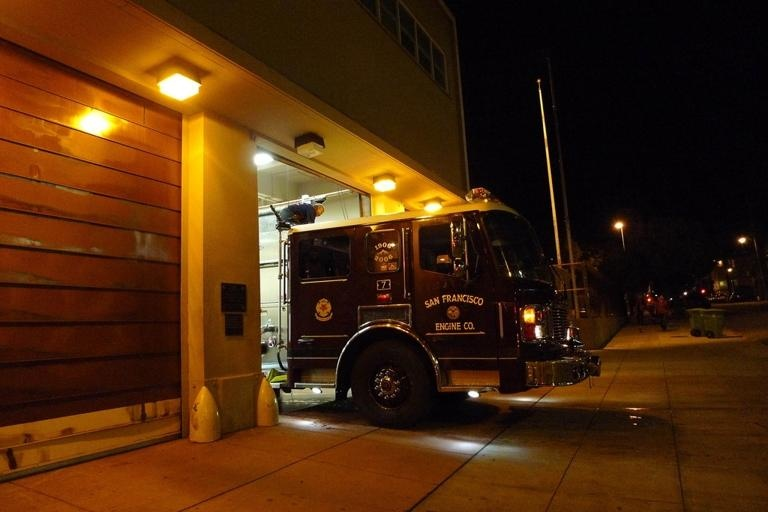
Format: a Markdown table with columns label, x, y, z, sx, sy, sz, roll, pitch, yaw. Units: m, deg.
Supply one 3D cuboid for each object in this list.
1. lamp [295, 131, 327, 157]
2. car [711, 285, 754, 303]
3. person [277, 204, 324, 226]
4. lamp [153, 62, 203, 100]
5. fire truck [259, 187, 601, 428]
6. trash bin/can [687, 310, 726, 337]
| label | x | y | z | sx | sy | sz | roll | pitch | yaw |
| --- | --- | --- | --- | --- | --- | --- | --- | --- | --- |
| lamp | -1.442 | -2.060 | 10.067 | 0.404 | 0.303 | 0.412 | -20 | -31 | 33 |
| car | 45.525 | 5.089 | 69.569 | 2.589 | 1.944 | 5.641 | -3 | 2 | 25 |
| person | -1.678 | -0.857 | 10.940 | 0.540 | 0.265 | 0.714 | 6 | 7 | 43 |
| lamp | -3.109 | -2.544 | 7.941 | 0.459 | 0.285 | 0.461 | 16 | -27 | -38 |
| fire truck | 1.056 | 1.009 | 10.824 | 6.139 | 3.765 | 4.265 | -6 | -7 | 40 |
| trash bin/can | 11.956 | 2.510 | 19.700 | 0.736 | 1.022 | 1.620 | -1 | -1 | 12 |
